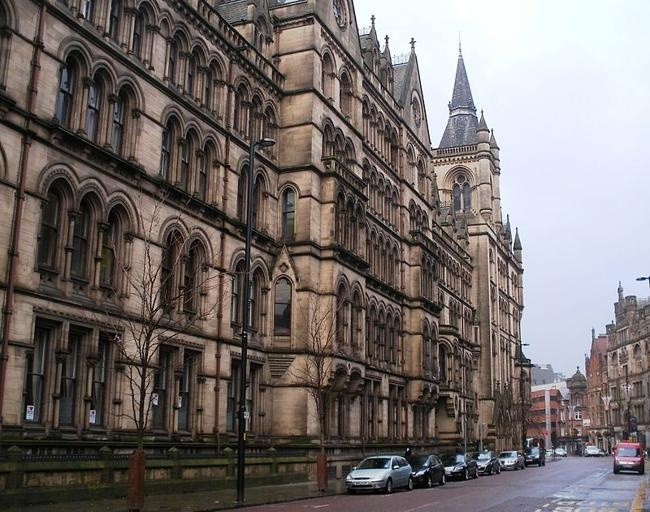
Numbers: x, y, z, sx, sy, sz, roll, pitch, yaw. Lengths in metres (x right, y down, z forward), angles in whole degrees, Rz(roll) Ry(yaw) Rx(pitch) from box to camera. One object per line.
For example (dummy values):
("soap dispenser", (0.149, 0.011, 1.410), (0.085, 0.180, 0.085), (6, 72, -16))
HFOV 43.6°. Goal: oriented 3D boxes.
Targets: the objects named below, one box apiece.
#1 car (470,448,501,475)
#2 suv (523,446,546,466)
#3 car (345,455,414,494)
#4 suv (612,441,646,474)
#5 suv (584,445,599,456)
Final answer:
("car", (10.483, 13.637, 52.920), (1.179, 1.095, 2.833), (-7, -27, 19))
("suv", (18.511, 17.818, 71.607), (1.287, 1.330, 2.973), (-7, -27, 18))
("car", (2.381, 9.664, 35.720), (1.561, 1.726, 3.653), (-16, -23, 31))
("suv", (20.337, 13.704, 54.241), (1.484, 1.606, 2.990), (-5, -26, 18))
("suv", (43.839, 31.837, 132.264), (1.744, 1.678, 3.213), (-2, -22, 6))
